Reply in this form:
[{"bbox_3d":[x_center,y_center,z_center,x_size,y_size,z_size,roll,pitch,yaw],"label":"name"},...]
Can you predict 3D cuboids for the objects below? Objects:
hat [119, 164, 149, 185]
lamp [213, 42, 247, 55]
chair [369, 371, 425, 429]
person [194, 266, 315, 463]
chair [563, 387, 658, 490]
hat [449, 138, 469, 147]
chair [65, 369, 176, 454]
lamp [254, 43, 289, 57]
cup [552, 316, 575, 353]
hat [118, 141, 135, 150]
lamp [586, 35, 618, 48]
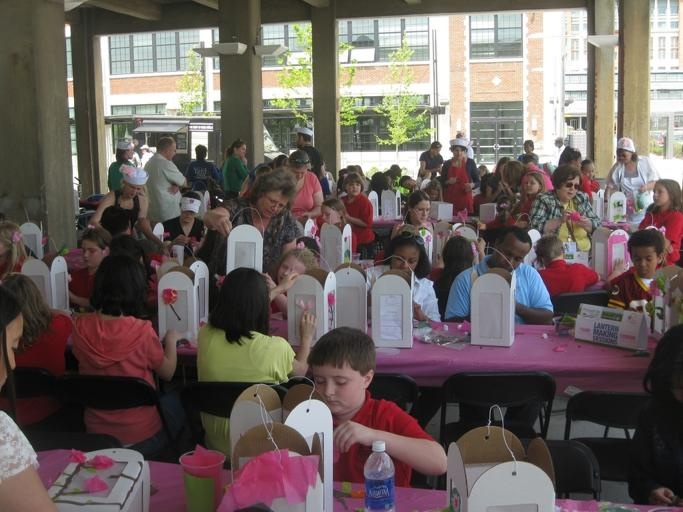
[{"bbox_3d":[-1.853,-0.724,6.298,0.201,0.128,0.201,15,21,42],"label":"hat"},{"bbox_3d":[-1.760,-3.300,11.260,0.504,0.200,0.447,-2,12,-1],"label":"lamp"},{"bbox_3d":[0.284,0.677,3.521,0.164,0.300,0.212,2,16,10],"label":"chair"},{"bbox_3d":[-0.400,0.531,3.554,0.504,0.936,0.539,5,8,19],"label":"person"},{"bbox_3d":[1.253,0.825,3.404,0.352,0.627,0.416,0,-1,8],"label":"chair"},{"bbox_3d":[1.651,-1.576,9.894,0.260,0.087,0.290,0,9,0],"label":"hat"},{"bbox_3d":[-1.063,0.759,3.504,0.571,0.408,0.242,-7,12,-24],"label":"chair"},{"bbox_3d":[-1.163,-3.348,11.565,0.508,0.155,0.985,-3,12,-7],"label":"lamp"},{"bbox_3d":[1.250,0.439,3.975,0.155,0.143,0.162,2,2,0],"label":"cup"},{"bbox_3d":[-3.161,-1.606,10.338,0.243,0.089,0.255,1,7,35],"label":"hat"},{"bbox_3d":[4.178,-3.464,11.382,0.483,0.193,0.593,-4,12,-9],"label":"lamp"}]
